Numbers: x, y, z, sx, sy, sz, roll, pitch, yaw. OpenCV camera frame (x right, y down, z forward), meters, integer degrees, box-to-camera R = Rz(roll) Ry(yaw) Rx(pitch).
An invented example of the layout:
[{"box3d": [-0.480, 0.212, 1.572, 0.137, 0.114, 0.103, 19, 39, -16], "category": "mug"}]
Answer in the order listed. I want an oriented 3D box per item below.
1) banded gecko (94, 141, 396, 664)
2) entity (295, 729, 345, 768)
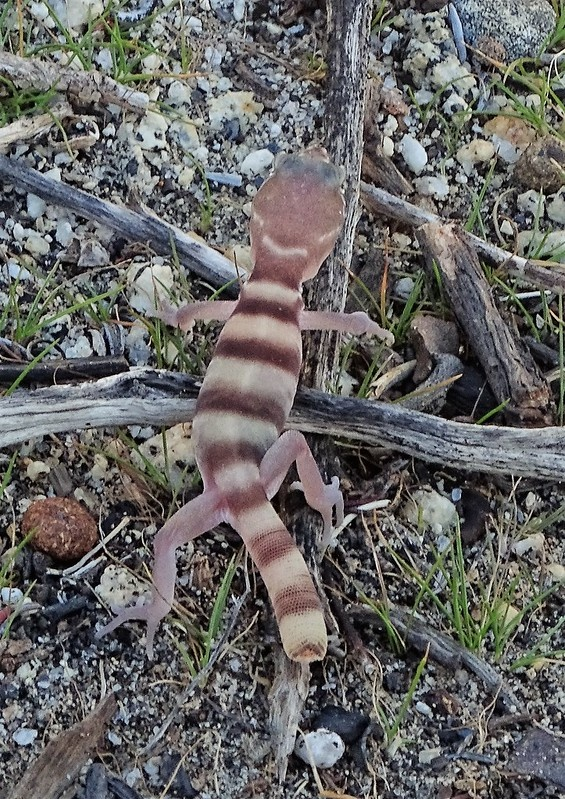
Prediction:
[{"box3d": [-0.081, 0.038, 2.574, 0.676, 0.692, 1.521, 12, 59, 0], "category": "banded gecko"}, {"box3d": [0.108, 0.956, 2.276, 0.099, 0.052, 0.110, 5, 84, -1], "category": "entity"}]
